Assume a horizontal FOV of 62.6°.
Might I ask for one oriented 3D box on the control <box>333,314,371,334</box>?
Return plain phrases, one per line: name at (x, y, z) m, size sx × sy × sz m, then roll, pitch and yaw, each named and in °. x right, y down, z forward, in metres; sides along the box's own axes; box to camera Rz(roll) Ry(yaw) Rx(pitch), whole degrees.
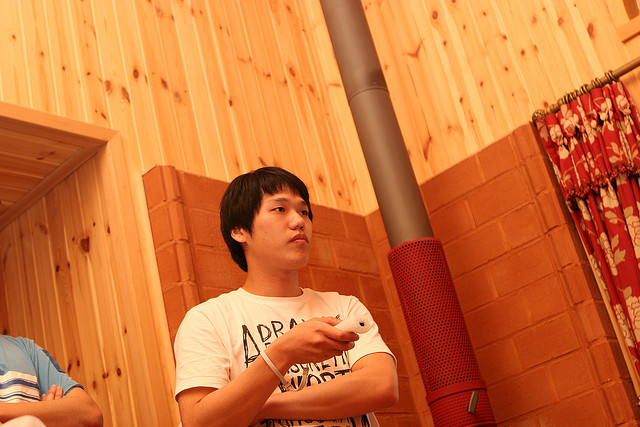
control at (0.101, 0.341, 1.611) m, size 0.100 × 0.038 × 0.045 m, roll -18°, pitch -32°, yaw 35°
